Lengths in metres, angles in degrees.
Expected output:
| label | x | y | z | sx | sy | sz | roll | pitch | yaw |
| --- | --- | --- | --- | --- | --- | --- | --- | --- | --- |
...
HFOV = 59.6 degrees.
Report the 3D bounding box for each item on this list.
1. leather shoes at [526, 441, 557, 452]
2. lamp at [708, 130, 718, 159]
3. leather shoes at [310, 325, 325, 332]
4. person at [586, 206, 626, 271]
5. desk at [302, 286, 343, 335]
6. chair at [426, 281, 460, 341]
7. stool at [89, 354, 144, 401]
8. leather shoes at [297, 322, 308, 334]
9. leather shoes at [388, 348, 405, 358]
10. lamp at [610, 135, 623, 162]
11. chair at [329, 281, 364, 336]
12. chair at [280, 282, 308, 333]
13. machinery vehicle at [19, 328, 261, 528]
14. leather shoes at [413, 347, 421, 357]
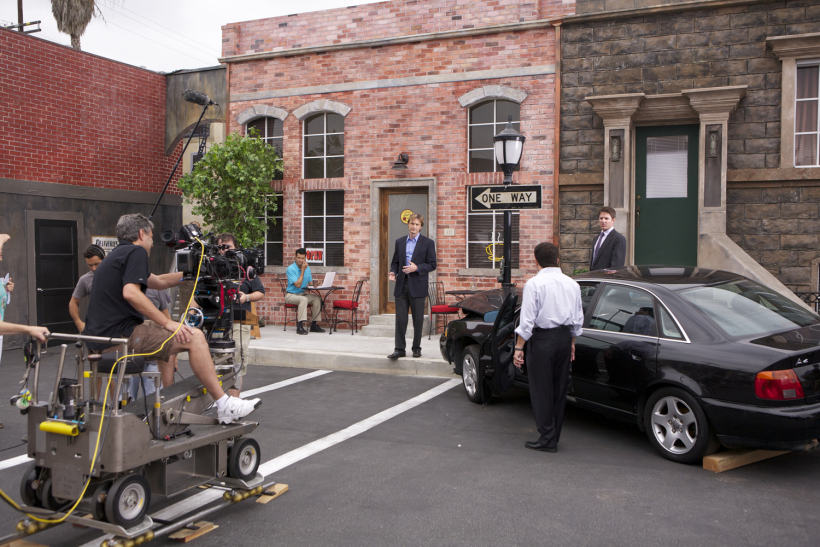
| label | x | y | z | sx | sy | sz | roll | pitch | yaw |
| --- | --- | --- | --- | --- | --- | --- | --- | --- | --- |
| leather shoes | 1.580 | 2.083 | 8.609 | 0.347 | 0.144 | 0.131 | 4 | 2 | 27 |
| lamp | 5.724 | -2.428 | 13.498 | 0.204 | 0.505 | 0.135 | 2 | 10 | 15 |
| leather shoes | -2.071 | 1.232 | 16.124 | 0.311 | 0.228 | 0.136 | 0 | 1 | -5 |
| person | 3.177 | -0.515 | 11.424 | 0.407 | 1.012 | 0.770 | -4 | 10 | -17 |
| desk | -1.984 | 0.725 | 16.413 | 0.824 | 0.853 | 0.834 | 3 | 8 | -7 |
| chair | 0.733 | 0.739 | 15.110 | 0.720 | 1.178 | 0.642 | -1 | -2 | 21 |
| stool | -2.907 | 1.005 | 7.058 | 0.489 | 0.441 | 0.388 | 1 | 1 | 9 |
| leather shoes | -2.374 | 1.177 | 15.769 | 0.211 | 0.217 | 0.398 | -2 | 10 | -9 |
| leather shoes | -0.182 | 1.401 | 12.467 | 0.357 | 0.152 | 0.120 | 1 | -1 | -25 |
| lamp | 4.083 | -2.456 | 14.135 | 0.217 | 0.483 | 0.146 | 1 | 10 | 10 |
| chair | -1.450 | 0.728 | 16.166 | 0.836 | 1.208 | 0.794 | 2 | 10 | 12 |
| chair | -2.630 | 0.709 | 16.218 | 0.422 | 0.642 | 0.408 | 11 | -18 | 5 |
| machinery vehicle | -2.822 | 1.570 | 7.710 | 1.229 | 1.764 | 2.397 | -1 | -3 | 24 |
| leather shoes | 0.128 | 1.384 | 12.504 | 0.133 | 0.131 | 0.135 | 0 | -5 | 1 |
